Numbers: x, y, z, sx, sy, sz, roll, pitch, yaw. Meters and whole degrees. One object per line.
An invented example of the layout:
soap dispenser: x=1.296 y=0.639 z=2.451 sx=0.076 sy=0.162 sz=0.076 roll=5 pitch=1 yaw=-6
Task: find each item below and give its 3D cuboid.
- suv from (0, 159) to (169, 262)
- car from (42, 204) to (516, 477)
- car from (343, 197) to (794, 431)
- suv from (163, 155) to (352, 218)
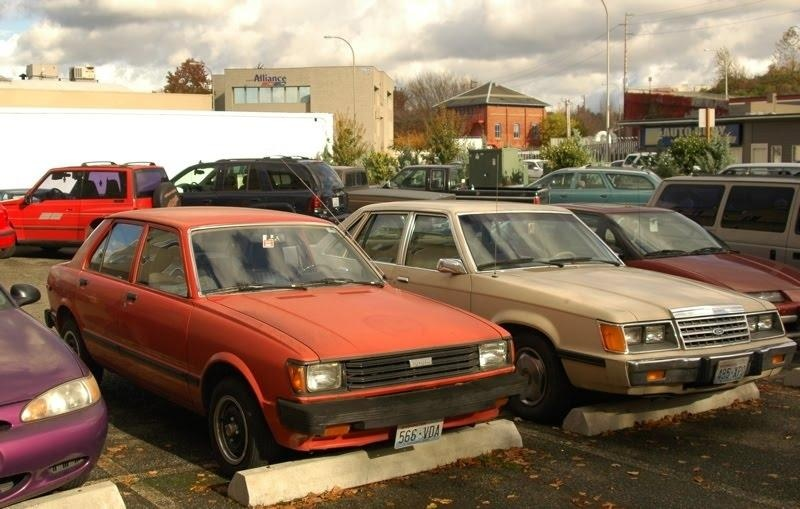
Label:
suv: x=-8.066 y=-1.274 z=16.636 sx=4.128 sy=2.026 sz=2.475 roll=3 pitch=7 yaw=12
car: x=-1.476 y=0.628 z=6.030 sx=2.194 sy=1.384 sz=4.229 roll=-5 pitch=10 yaw=-44
car: x=1.217 y=0.323 z=7.590 sx=2.493 sy=1.730 sz=5.137 roll=-4 pitch=7 yaw=-41
suv: x=-4.039 y=-1.919 z=17.367 sx=4.309 sy=1.733 sz=2.068 roll=5 pitch=5 yaw=9
